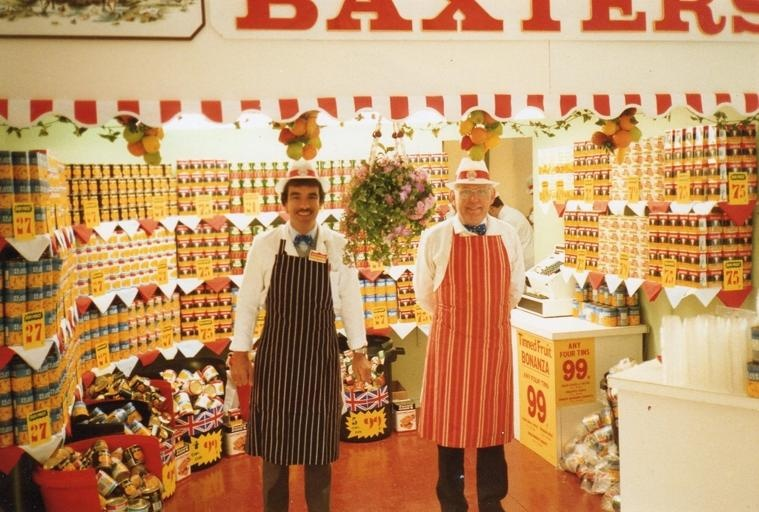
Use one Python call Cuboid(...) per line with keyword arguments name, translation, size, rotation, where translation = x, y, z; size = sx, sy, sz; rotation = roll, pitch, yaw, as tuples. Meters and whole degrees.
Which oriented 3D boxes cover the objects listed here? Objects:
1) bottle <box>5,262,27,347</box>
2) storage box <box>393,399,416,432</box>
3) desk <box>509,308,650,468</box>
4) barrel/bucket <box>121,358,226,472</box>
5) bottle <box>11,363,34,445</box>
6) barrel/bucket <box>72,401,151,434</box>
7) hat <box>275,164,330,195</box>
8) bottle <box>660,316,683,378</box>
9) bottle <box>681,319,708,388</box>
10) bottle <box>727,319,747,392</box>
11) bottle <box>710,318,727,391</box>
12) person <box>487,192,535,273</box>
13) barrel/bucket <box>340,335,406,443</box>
Cuboid(name="bottle", translation=(-2.456, 0.319, 4.553), size=(0.125, 0.550, 0.086), rotation=(-3, 7, -21))
Cuboid(name="storage box", translation=(0.254, 1.665, 7.051), size=(0.234, 0.333, 0.326), rotation=(-2, 2, -3))
Cuboid(name="desk", translation=(1.814, 1.213, 6.549), size=(0.978, 1.238, 1.089), rotation=(0, 3, 7))
Cuboid(name="barrel/bucket", translation=(-1.905, 1.456, 6.467), size=(0.854, 0.852, 1.074), rotation=(-1, -8, -5))
Cuboid(name="bottle", translation=(-2.409, 0.994, 4.565), size=(0.129, 0.534, 0.107), rotation=(-4, 8, -31))
Cuboid(name="barrel/bucket", translation=(-2.259, 1.355, 5.709), size=(0.383, 0.146, 0.312), rotation=(-1, 2, 9))
Cuboid(name="hat", translation=(-0.557, -0.646, 5.048), size=(0.396, 0.198, 0.483), rotation=(-5, -6, -3))
Cuboid(name="bottle", translation=(2.069, 0.729, 4.800), size=(0.083, 0.349, 0.102), rotation=(-2, -30, -2))
Cuboid(name="bottle", translation=(2.202, 0.659, 4.687), size=(0.162, 0.472, 0.119), rotation=(1, 7, 9))
Cuboid(name="bottle", translation=(2.435, 0.679, 4.578), size=(0.146, 0.483, 0.074), rotation=(3, 8, 24))
Cuboid(name="bottle", translation=(2.328, 0.678, 4.621), size=(0.114, 0.458, 0.067), rotation=(4, 8, 30))
Cuboid(name="person", translation=(1.700, -0.262, 8.435), size=(0.460, 1.358, 0.468), rotation=(-21, 43, 8))
Cuboid(name="barrel/bucket", translation=(-0.085, 1.302, 7.104), size=(1.006, 1.212, 0.763), rotation=(0, -4, -4))
